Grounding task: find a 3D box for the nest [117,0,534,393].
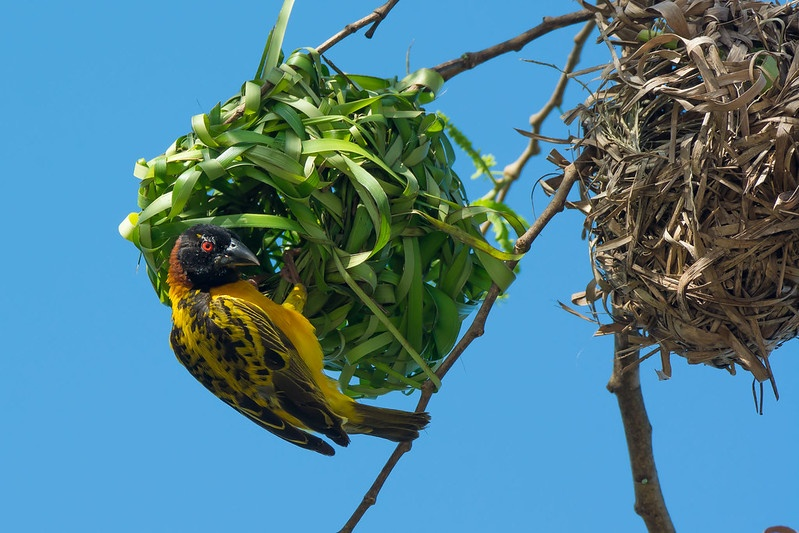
[{"bbox_3d":[-0.124,-0.140,3.739,0.991,0.598,0.868,20,-60,-2],"label":"nest"}]
